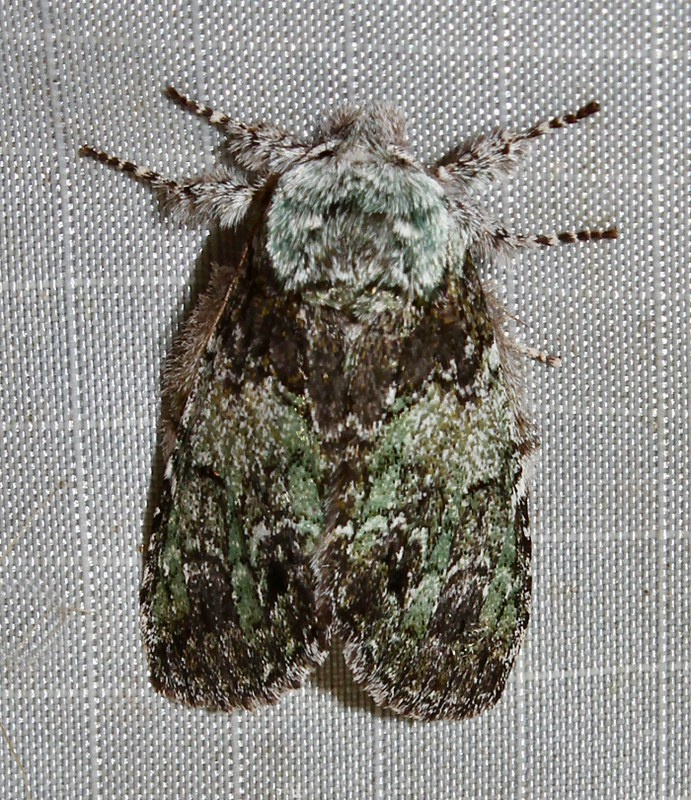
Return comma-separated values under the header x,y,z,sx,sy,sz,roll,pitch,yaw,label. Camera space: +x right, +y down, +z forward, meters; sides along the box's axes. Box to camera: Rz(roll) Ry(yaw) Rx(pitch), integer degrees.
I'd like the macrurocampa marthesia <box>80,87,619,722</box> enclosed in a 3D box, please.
x,y,z,sx,sy,sz,roll,pitch,yaw,label
-0.039,-0.028,2.762,0.689,0.286,1.174,1,83,-3,macrurocampa marthesia
